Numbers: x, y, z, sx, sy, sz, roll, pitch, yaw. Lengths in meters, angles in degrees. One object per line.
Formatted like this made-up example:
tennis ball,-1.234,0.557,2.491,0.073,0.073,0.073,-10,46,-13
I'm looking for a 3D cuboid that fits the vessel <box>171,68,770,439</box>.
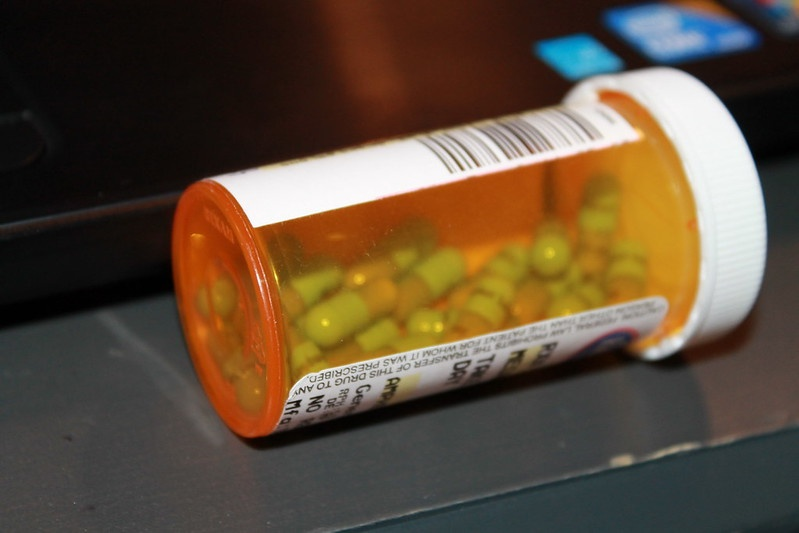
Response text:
vessel,0.039,-0.007,0.649,0.395,0.239,0.228,-9,28,-12
